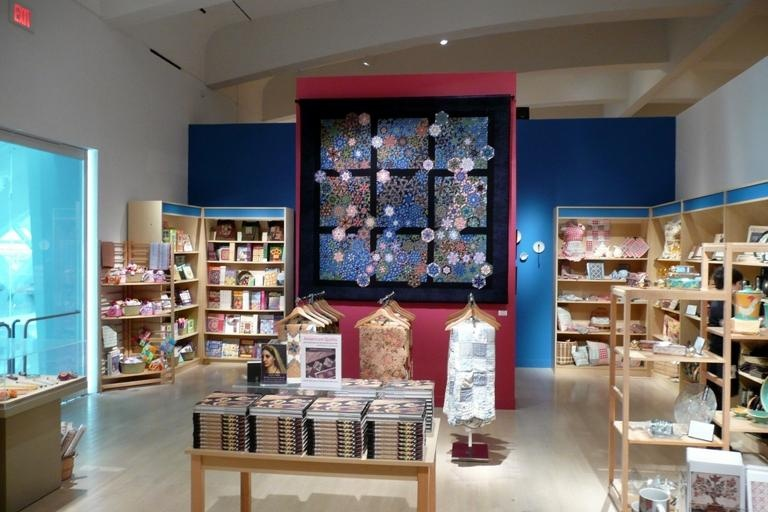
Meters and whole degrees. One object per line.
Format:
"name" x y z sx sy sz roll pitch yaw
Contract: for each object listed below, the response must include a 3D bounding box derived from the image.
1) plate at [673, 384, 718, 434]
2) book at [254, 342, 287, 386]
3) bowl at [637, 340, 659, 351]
"plate" 3.354 1.627 5.878 0.375 0.517 0.284 -1 0 29
"book" -1.129 1.098 5.487 0.406 0.566 0.062 -1 -3 4
"bowl" 2.869 0.975 5.953 0.179 0.105 0.099 -1 0 33
